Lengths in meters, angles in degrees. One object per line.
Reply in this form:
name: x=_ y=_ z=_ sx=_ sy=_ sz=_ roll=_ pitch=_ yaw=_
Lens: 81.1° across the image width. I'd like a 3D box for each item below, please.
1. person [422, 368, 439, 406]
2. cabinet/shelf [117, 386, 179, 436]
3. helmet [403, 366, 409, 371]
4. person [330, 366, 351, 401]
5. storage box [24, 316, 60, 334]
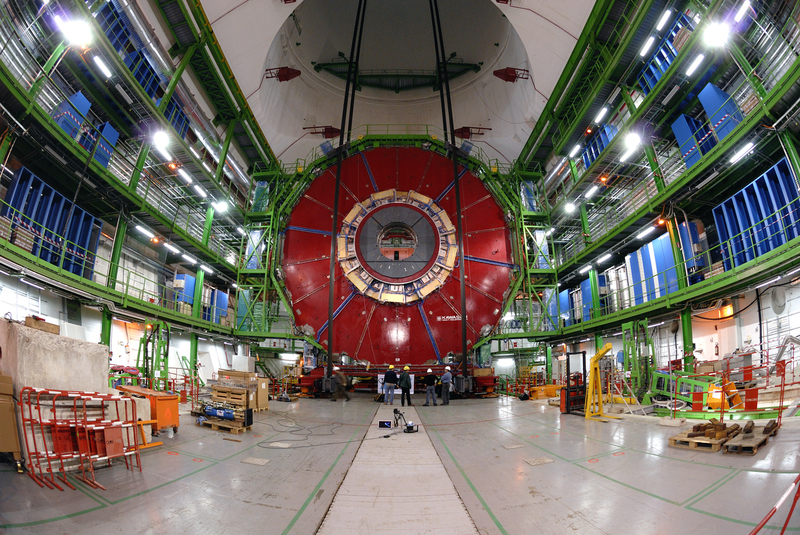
person: x=1.394 y=5.298 z=20.279 sx=0.576 sy=1.424 sz=1.435 roll=0 pitch=-6 yaw=3
cabinet/shelf: x=-6.991 y=4.129 z=13.497 sx=1.938 sy=1.566 sz=1.036 roll=-8 pitch=-11 yaw=38
helmet: x=0.355 y=4.662 z=21.060 sx=0.259 sy=0.144 sz=0.383 roll=2 pitch=-12 yaw=-2
person: x=-2.818 y=5.684 z=22.558 sx=0.832 sy=1.398 sz=3.250 roll=1 pitch=-7 yaw=-7
storage box: x=-9.200 y=1.534 z=12.024 sx=0.218 sy=0.273 sz=0.790 roll=-29 pitch=-30 yaw=5
